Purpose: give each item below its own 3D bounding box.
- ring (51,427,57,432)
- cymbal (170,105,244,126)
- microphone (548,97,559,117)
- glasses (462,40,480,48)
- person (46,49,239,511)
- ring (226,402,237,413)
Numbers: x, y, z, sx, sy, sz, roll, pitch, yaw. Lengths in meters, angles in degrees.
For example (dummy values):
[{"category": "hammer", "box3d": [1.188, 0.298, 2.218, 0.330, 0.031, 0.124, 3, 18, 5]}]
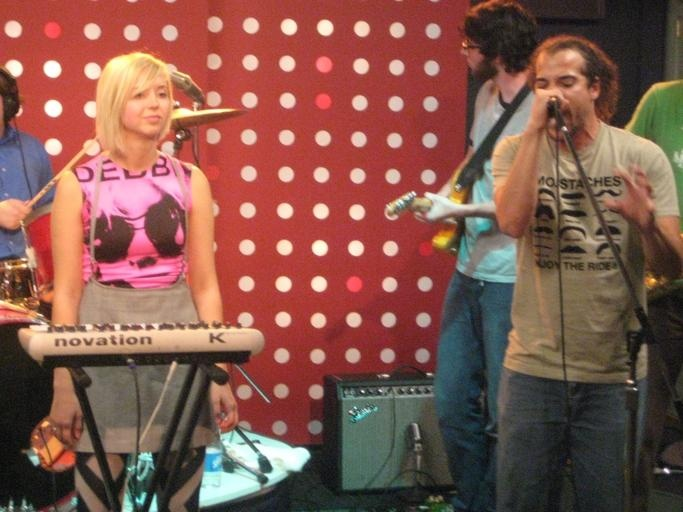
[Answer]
[{"category": "ring", "box3d": [-0.900, 0.547, 2.611, 0.013, 0.016, 0.004, 0, 5, 15]}, {"category": "cymbal", "box3d": [-0.618, -0.610, 3.675, 0.227, 0.052, 0.215, -4, 3, -14]}, {"category": "microphone", "box3d": [0.692, -0.484, 2.696, 0.020, 0.060, 0.048, -1, 2, -28]}, {"category": "glasses", "box3d": [0.572, -0.929, 3.656, 0.061, 0.017, 0.043, 3, 9, -6]}, {"category": "person", "box3d": [-0.647, 0.066, 2.729, 0.530, 1.552, 0.307, 1, -4, -39]}, {"category": "ring", "box3d": [-0.358, 0.505, 2.744, 0.034, 0.042, 0.027, -1, 6, -34]}]
